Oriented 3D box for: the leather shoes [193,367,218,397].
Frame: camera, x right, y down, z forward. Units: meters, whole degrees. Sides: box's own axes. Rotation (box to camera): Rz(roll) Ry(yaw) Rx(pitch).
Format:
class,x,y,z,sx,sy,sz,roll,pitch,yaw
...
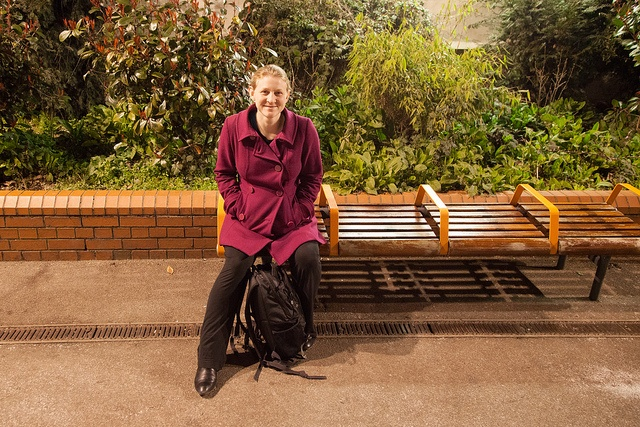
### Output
class,x,y,z,sx,sy,sz,roll,pitch,yaw
leather shoes,-0.968,1.402,3.792,0.125,0.110,0.261,1,23,-5
